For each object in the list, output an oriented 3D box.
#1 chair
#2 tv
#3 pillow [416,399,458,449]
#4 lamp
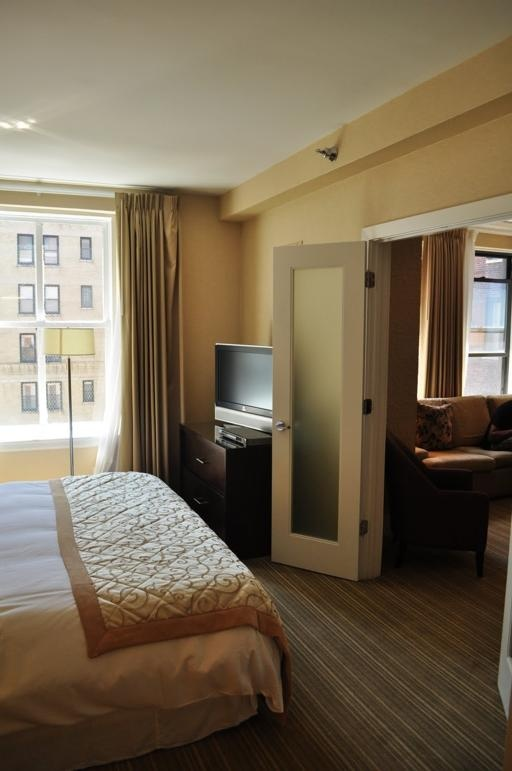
[{"bbox_3d":[1.057,0.740,3.609,0.715,1.061,0.684,0,1,6],"label":"chair"},{"bbox_3d":[-0.092,0.023,3.923,0.058,0.472,0.601,-2,5,-26],"label":"tv"},{"bbox_3d":[1.602,0.367,4.731,0.403,0.491,0.163,0,1,-10],"label":"pillow"},{"bbox_3d":[-1.498,0.160,4.225,0.337,1.210,0.820,0,2,-22],"label":"lamp"}]
